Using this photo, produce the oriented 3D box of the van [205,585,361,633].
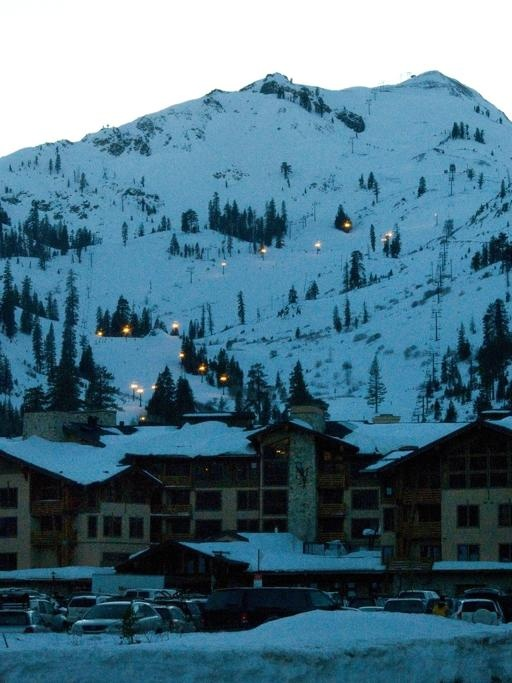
[{"bbox_3d":[0.160,9.294,68.615,3.460,1.938,2.066,-5,0,-7],"label":"van"}]
